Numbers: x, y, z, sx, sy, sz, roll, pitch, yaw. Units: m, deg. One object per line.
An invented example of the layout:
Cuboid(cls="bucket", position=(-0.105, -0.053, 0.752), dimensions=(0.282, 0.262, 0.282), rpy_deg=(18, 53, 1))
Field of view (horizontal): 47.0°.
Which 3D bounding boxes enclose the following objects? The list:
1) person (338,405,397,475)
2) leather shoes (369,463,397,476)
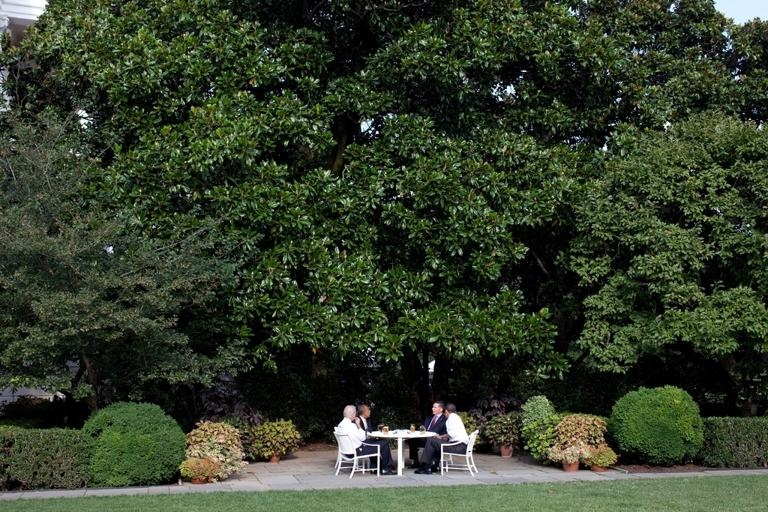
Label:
Cuboid(cls="person", position=(-0.455, 4.502, 21.888), dimensions=(1.394, 1.589, 0.882), rpy_deg=(2, 11, -3))
Cuboid(cls="leather shoes", position=(-0.008, 5.279, 21.822), dimensions=(0.667, 0.288, 0.226), rpy_deg=(2, -6, -14))
